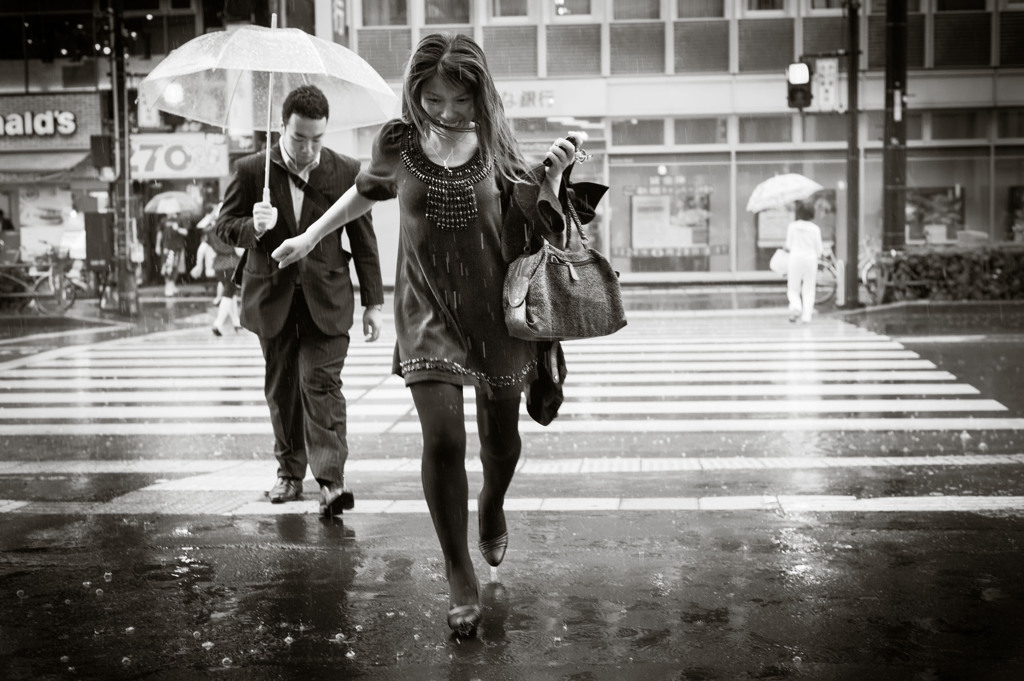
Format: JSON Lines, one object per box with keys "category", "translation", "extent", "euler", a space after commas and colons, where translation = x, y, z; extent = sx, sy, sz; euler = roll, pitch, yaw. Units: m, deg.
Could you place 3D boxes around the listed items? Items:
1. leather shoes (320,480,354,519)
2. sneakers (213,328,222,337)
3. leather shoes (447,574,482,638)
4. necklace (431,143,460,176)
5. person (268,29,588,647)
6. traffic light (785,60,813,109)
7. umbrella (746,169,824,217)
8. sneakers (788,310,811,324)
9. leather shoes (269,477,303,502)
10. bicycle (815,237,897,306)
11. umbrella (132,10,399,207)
{"category": "leather shoes", "translation": [-1.279, 1.160, 8.691], "extent": [0.207, 0.250, 0.245], "euler": [-4, -10, -29]}
{"category": "sneakers", "translation": [-4.982, -0.136, 20.019], "extent": [0.111, 0.102, 0.126], "euler": [-1, -5, 6]}
{"category": "leather shoes", "translation": [-0.275, 1.522, 6.878], "extent": [0.203, 0.336, 0.245], "euler": [-1, 6, -4]}
{"category": "necklace", "translation": [-0.395, -1.062, 6.982], "extent": [0.136, 0.140, 0.033], "euler": [-27, -10, -15]}
{"category": "person", "translation": [-0.278, -0.085, 7.111], "extent": [1.387, 3.452, 0.934], "euler": [-2, 6, -9]}
{"category": "traffic light", "translation": [5.913, -5.234, 24.254], "extent": [0.462, 0.949, 0.358], "euler": [0, 6, 6]}
{"category": "umbrella", "translation": [6.273, -3.306, 26.810], "extent": [1.484, 0.716, 1.638], "euler": [-13, 14, 20]}
{"category": "sneakers", "translation": [4.958, -0.394, 20.475], "extent": [0.154, 0.233, 0.523], "euler": [1, -10, 3]}
{"category": "leather shoes", "translation": [-1.735, 1.152, 9.144], "extent": [0.119, 0.136, 0.293], "euler": [-2, -8, 19]}
{"category": "bicycle", "translation": [6.875, -1.371, 24.427], "extent": [2.367, 1.527, 1.041], "euler": [1, 1, -6]}
{"category": "umbrella", "translation": [-1.849, -2.026, 9.394], "extent": [1.653, 1.550, 1.735], "euler": [10, -1, -36]}
